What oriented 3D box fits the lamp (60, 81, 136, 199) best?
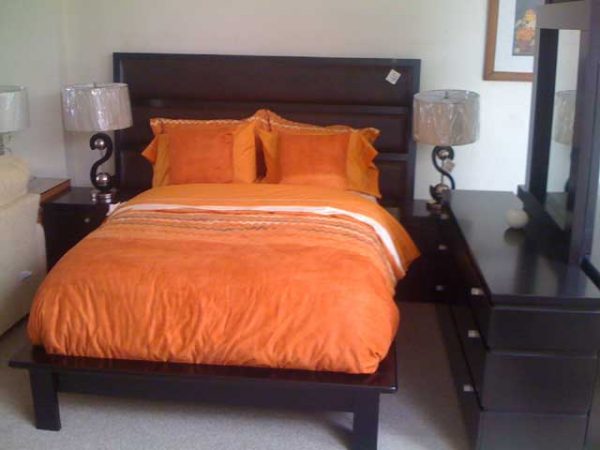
[{"bbox_3d":[-1.592,-0.692,4.066,0.517,0.879,0.538,10,22,28],"label":"lamp"}]
